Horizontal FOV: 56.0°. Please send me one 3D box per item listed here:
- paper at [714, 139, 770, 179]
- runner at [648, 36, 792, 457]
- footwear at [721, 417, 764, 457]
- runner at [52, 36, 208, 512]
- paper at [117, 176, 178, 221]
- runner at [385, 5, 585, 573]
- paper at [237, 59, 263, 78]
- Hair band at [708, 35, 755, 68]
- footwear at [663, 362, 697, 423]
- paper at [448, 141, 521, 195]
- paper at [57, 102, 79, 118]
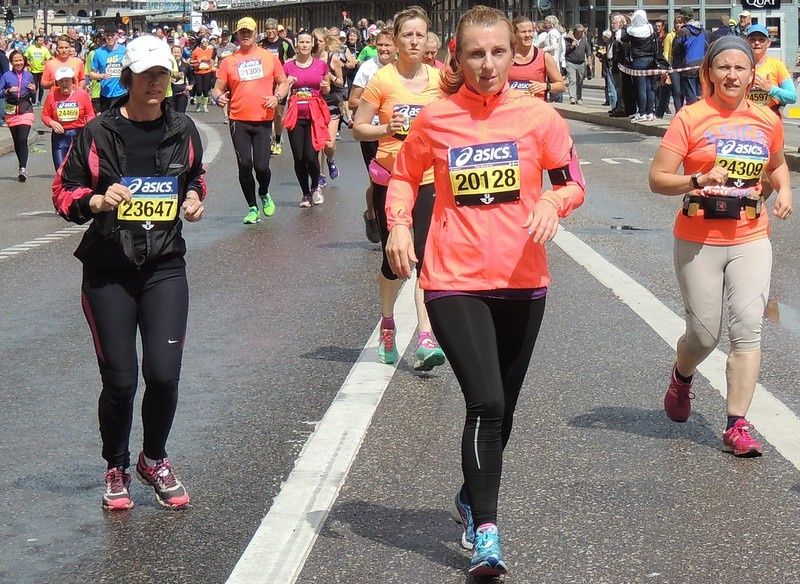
[{"bbox_3d":[1.846,-0.726,4.085,0.245,0.178,0.034,3,1,-3],"label":"paper"},{"bbox_3d":[1.754,-0.293,4.141,0.703,2.179,0.932,5,12,26],"label":"runner"},{"bbox_3d":[1.783,0.763,3.896,0.138,0.172,0.183,-7,13,-29],"label":"footwear"},{"bbox_3d":[-1.129,-0.067,3.292,0.639,2.036,0.459,-6,12,-25],"label":"runner"},{"bbox_3d":[-1.093,-0.398,3.216,0.207,0.145,0.009,-1,-12,-20],"label":"paper"},{"bbox_3d":[0.320,-0.045,2.729,0.725,1.960,0.720,-1,11,-2],"label":"runner"},{"bbox_3d":[-2.211,-3.264,10.994,0.266,0.232,0.037,-13,6,-11],"label":"paper"},{"bbox_3d":[1.823,-1.333,4.144,0.245,0.178,0.234,4,12,21],"label":"Hair band"},{"bbox_3d":[1.645,0.585,4.398,0.133,0.343,0.146,1,6,10],"label":"footwear"},{"bbox_3d":[0.320,-0.446,2.752,0.203,0.149,0.027,-2,0,4],"label":"paper"},{"bbox_3d":[-6.145,-3.353,13.861,0.286,0.269,0.048,-8,2,-6],"label":"paper"}]
